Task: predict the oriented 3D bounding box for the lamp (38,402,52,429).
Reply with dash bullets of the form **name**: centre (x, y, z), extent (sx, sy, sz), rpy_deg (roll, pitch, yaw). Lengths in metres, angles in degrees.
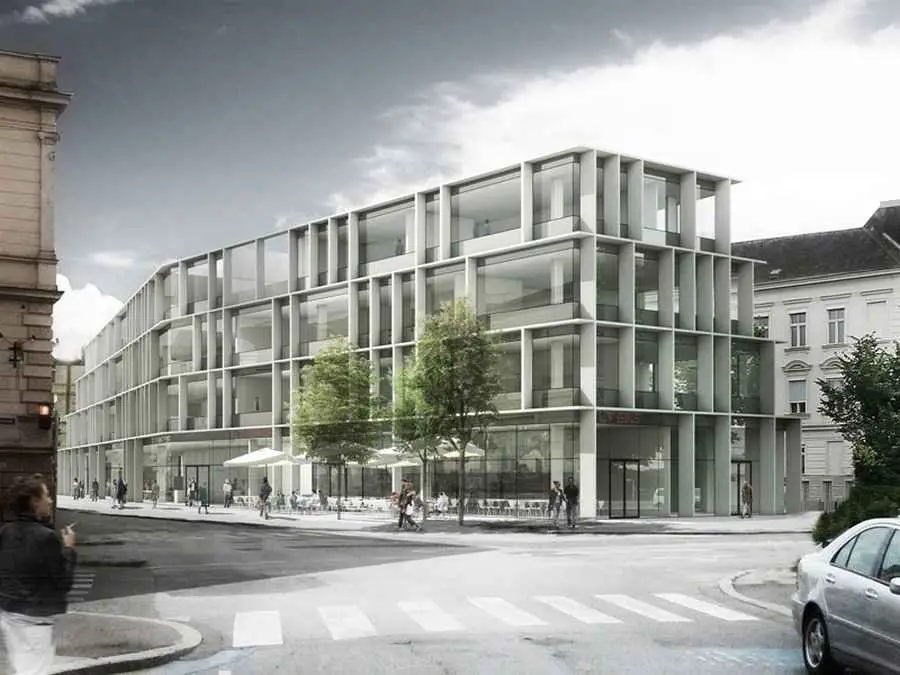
- **lamp**: centre (-12.580, 2.435, 28.119), extent (0.365, 0.731, 0.386), rpy_deg (3, -9, -23)
